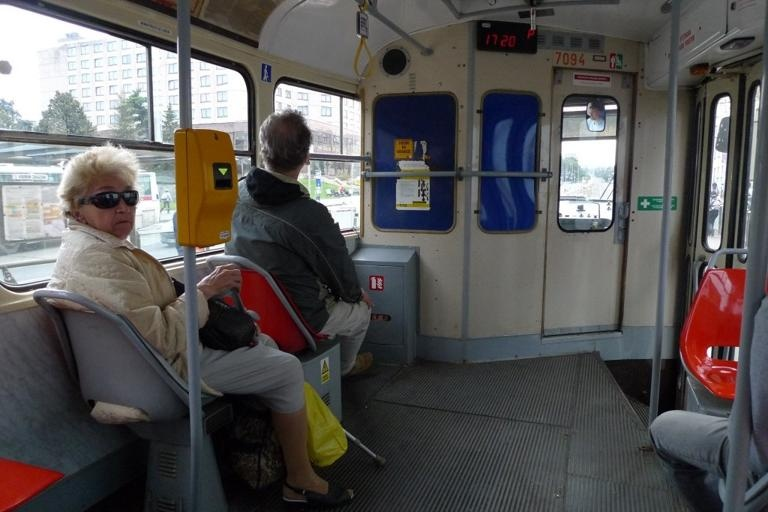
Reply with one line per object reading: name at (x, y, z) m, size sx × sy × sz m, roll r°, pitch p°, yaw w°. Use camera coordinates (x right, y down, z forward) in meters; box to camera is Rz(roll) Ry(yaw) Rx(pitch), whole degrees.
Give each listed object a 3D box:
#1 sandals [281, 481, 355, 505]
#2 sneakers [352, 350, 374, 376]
sandals at (-0.420, 1.492, 3.473) m, size 0.438 × 0.165 × 0.173 m, roll -1°, pitch -6°, yaw -4°
sneakers at (-0.202, 1.025, 5.265) m, size 0.131 × 0.104 × 0.265 m, roll 11°, pitch 29°, yaw 27°
